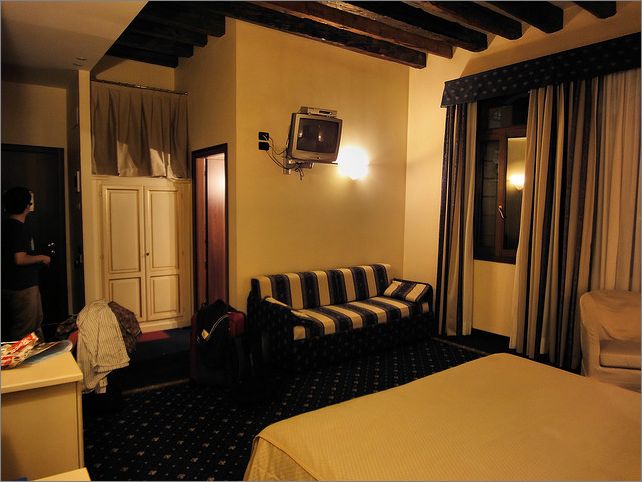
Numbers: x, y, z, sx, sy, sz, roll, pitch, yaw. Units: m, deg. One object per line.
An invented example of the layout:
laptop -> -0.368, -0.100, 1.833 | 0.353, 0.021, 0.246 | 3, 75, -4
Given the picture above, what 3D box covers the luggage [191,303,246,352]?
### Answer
luggage -> -1.055, 0.826, 4.778 | 0.369, 0.439, 0.413 | 3, -1, -3
